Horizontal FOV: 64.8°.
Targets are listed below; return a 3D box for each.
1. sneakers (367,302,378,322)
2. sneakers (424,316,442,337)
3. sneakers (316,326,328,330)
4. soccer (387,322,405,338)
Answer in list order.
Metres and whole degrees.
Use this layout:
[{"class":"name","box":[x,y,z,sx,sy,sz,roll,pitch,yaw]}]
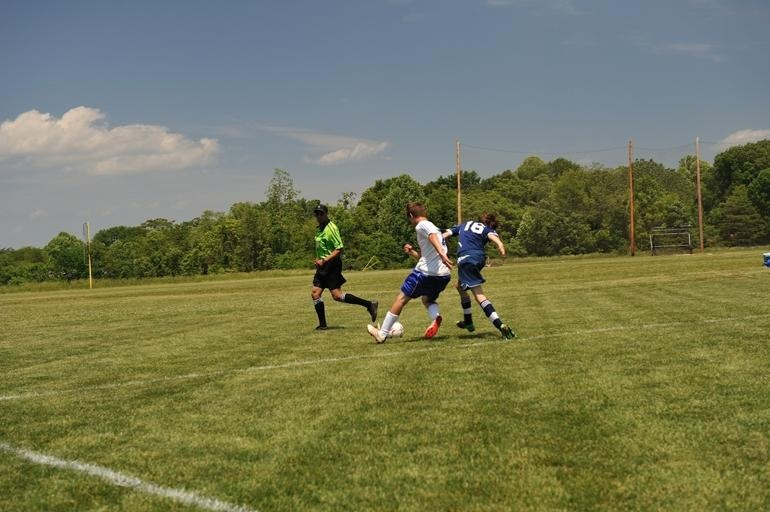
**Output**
[{"class":"sneakers","box":[-0.217,1.124,12.185,0.212,0.497,0.164,-10,9,-32]},{"class":"sneakers","box":[0.873,1.280,10.947,0.147,0.365,0.180,36,16,23]},{"class":"sneakers","box":[-1.269,1.442,12.223,0.225,0.091,0.077,4,-5,14]},{"class":"soccer","box":[0.219,1.299,10.722,0.274,0.282,0.212,-6,-1,-17]}]
